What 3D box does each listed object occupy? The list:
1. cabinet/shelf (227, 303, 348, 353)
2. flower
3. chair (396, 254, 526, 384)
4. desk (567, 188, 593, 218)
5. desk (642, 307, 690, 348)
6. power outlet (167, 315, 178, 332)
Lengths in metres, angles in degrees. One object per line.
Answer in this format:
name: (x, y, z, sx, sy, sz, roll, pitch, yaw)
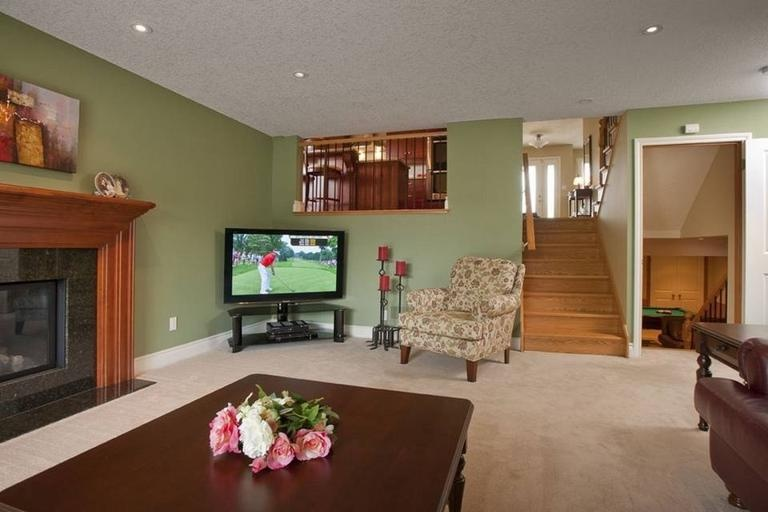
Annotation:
cabinet/shelf: (-1.205, 0.822, 6.309, 1.402, 0.542, 0.668, -3, 2, -23)
flower: (-0.632, 0.922, 3.090, 0.576, 0.316, 0.564, 5, 3, 4)
chair: (0.868, 0.648, 5.866, 1.187, 1.270, 1.392, -2, -4, 40)
desk: (3.651, -1.001, 9.378, 0.327, 0.536, 0.906, 0, 1, 16)
desk: (4.761, 1.159, 8.565, 0.656, 0.492, 1.310, -1, 2, 14)
power outlet: (-2.303, 0.722, 5.556, 0.009, 0.163, 0.111, -1, 3, 27)
